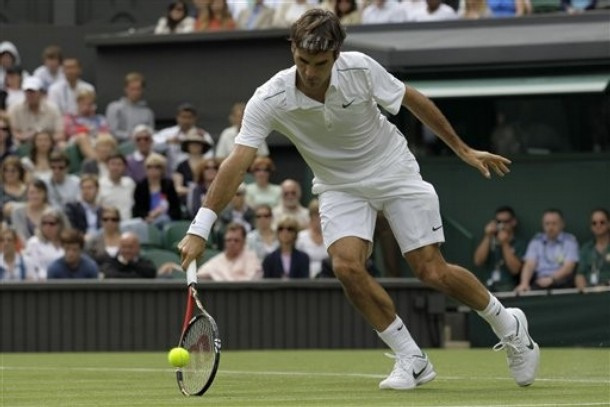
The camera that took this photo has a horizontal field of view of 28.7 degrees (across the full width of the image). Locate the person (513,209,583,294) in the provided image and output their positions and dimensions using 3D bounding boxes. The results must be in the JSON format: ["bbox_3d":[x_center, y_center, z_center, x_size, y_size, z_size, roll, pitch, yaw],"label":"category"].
[{"bbox_3d":[2.448,0.485,11.948,0.539,0.903,0.595,3,-4,10],"label":"person"}]

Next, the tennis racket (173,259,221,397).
[{"bbox_3d":[-0.788,0.900,8.495,0.251,0.984,0.654,-6,4,-18],"label":"tennis racket"}]

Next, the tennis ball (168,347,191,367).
[{"bbox_3d":[-0.906,1.116,8.563,0.134,0.147,0.140,1,28,-1],"label":"tennis ball"}]

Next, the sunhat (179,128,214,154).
[{"bbox_3d":[-1.114,-0.650,12.430,0.221,0.283,0.515,-3,4,20],"label":"sunhat"}]
